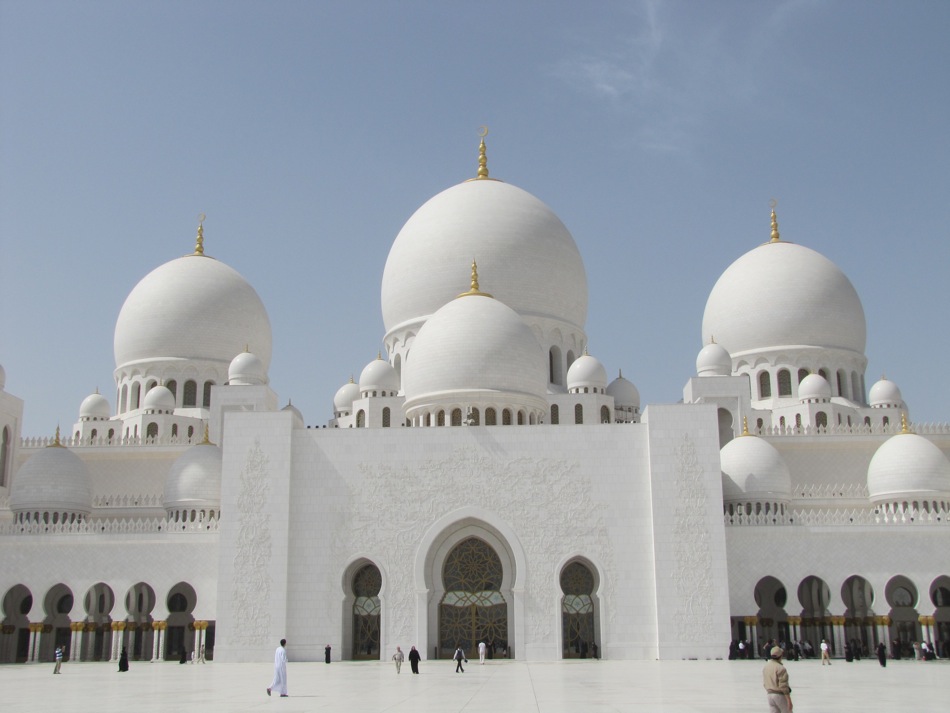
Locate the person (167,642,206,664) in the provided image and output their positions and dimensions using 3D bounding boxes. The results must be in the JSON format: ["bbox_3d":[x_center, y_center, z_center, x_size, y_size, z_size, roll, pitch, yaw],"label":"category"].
[{"bbox_3d":[-9.235,9.322,30.933,1.193,0.655,1.661,7,-9,-29],"label":"person"}]

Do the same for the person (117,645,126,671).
[{"bbox_3d":[-9.049,7.812,25.070,0.216,0.640,1.139,7,-22,-18],"label":"person"}]
